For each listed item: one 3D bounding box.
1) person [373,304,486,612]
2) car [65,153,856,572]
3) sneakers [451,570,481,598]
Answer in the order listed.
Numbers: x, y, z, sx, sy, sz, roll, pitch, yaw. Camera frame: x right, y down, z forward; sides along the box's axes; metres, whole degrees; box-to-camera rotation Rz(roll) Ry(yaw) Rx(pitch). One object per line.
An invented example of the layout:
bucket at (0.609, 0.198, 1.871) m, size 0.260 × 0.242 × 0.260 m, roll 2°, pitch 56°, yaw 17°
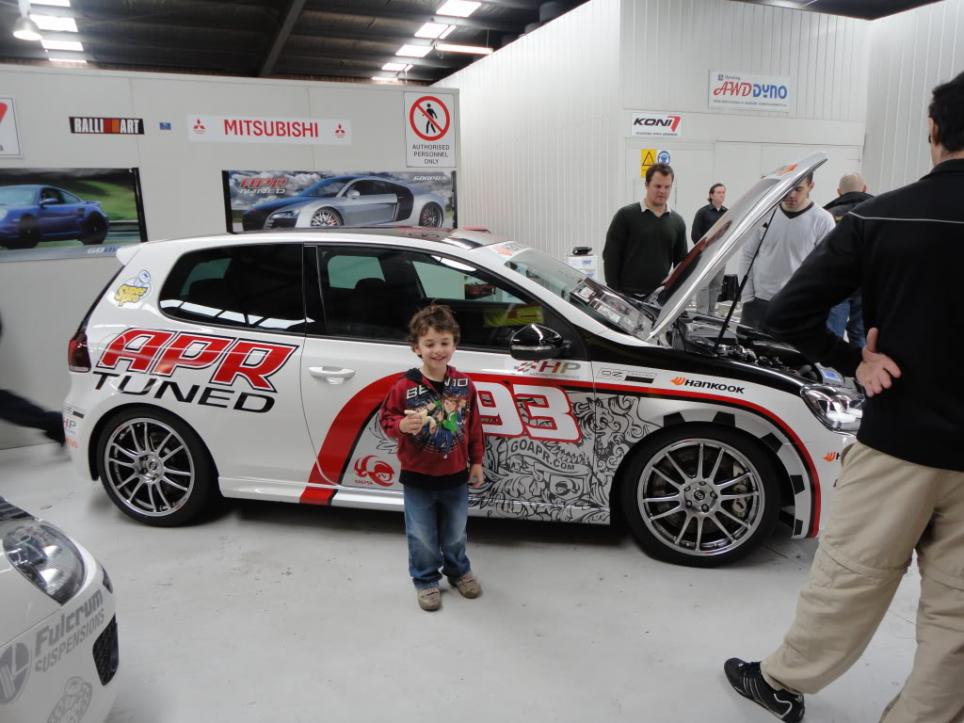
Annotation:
person at (-0.229, 0.490, 2.793) m, size 0.466 × 1.457 × 0.306 m, roll -1°, pitch 18°, yaw -3°
car at (-0.259, 0.012, 4.135) m, size 4.224 × 2.323 × 2.033 m, roll 0°, pitch 7°, yaw 7°
sneakers at (-0.076, 1.135, 3.002) m, size 0.074 × 0.067 × 0.153 m, roll -28°, pitch 3°, yaw -29°
